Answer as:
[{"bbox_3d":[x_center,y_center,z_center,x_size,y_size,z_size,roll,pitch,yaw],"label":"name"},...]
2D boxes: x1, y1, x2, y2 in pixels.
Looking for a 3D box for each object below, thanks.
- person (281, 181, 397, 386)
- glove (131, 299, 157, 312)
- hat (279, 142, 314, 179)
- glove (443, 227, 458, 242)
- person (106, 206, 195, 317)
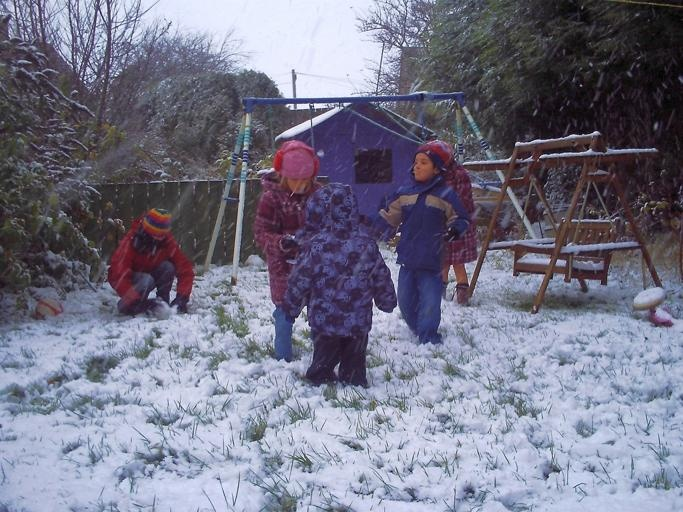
[{"bbox_3d":[-0.028,0.249,5.567,0.925,1.707,0.421,0,7,-7],"label":"person"},{"bbox_3d":[-2.178,0.560,7.238,0.291,0.155,0.075,-1,8,-19],"label":"glove"},{"bbox_3d":[-0.382,-0.836,5.738,0.246,0.272,0.317,1,-25,-4],"label":"hat"},{"bbox_3d":[1.026,-0.202,6.199,0.098,0.115,0.079,34,22,-22],"label":"glove"},{"bbox_3d":[-2.118,0.028,7.785,1.059,1.613,0.899,7,8,39],"label":"person"}]
